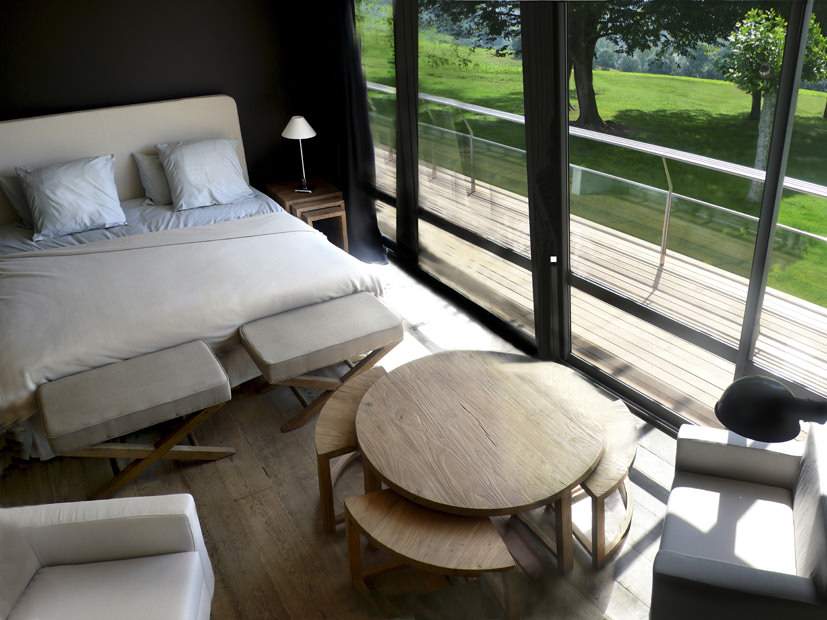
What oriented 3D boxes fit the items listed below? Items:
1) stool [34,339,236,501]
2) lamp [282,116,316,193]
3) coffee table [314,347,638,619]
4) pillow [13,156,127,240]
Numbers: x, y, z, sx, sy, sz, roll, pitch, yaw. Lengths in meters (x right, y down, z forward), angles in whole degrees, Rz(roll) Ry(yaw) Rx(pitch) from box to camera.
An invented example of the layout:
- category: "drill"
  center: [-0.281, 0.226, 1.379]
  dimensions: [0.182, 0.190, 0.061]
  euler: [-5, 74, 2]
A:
- category: "stool"
  center: [-1.657, 0.665, 3.480]
  dimensions: [0.966, 0.672, 0.552]
  euler: [-20, 43, -31]
- category: "lamp"
  center: [-1.067, -1.465, 5.336]
  dimensions: [0.363, 0.657, 0.360]
  euler: [-18, 32, -35]
- category: "coffee table"
  center: [0.323, 0.859, 2.968]
  dimensions: [1.602, 0.692, 1.333]
  euler: [-9, 30, -16]
- category: "pillow"
  center: [-2.735, -0.914, 4.563]
  dimensions: [0.681, 0.460, 0.534]
  euler: [-15, 33, -26]
